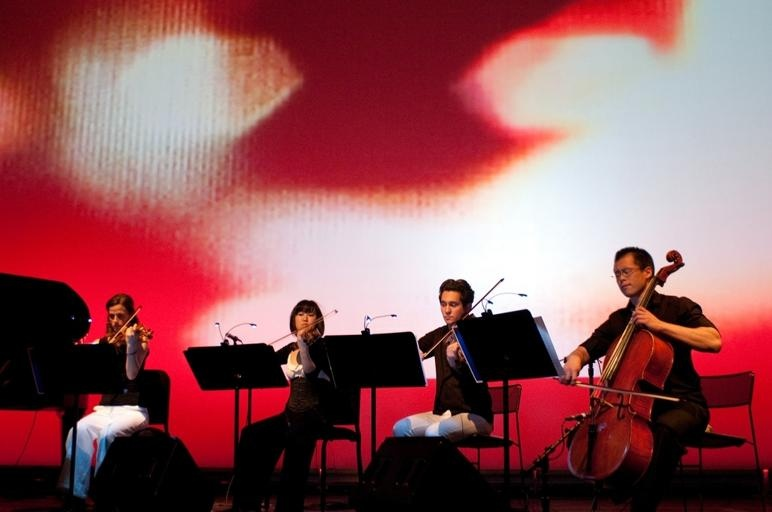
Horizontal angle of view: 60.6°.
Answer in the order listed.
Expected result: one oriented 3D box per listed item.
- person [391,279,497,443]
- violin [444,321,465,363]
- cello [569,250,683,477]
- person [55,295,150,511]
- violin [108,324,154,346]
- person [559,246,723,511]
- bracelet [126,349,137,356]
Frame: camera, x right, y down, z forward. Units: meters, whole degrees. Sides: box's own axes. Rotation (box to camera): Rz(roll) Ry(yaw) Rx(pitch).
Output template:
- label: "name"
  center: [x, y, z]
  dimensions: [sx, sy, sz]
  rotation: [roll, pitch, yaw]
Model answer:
- label: "person"
  center: [0.405, 0.828, 5.130]
  dimensions: [0.677, 1.238, 0.580]
  rotation: [-11, -24, 19]
- label: "violin"
  center: [0.509, 0.649, 4.901]
  dimensions: [0.090, 0.277, 0.196]
  rotation: [-11, 5, 13]
- label: "cello"
  center: [1.599, 0.739, 4.463]
  dimensions: [0.874, 1.473, 0.369]
  rotation: [-6, -22, 6]
- label: "person"
  center: [-2.290, 1.134, 5.442]
  dimensions: [0.791, 1.805, 0.640]
  rotation: [-8, -23, 13]
- label: "violin"
  center: [-2.137, 0.683, 5.548]
  dimensions: [0.366, 0.188, 0.103]
  rotation: [-23, -53, 19]
- label: "person"
  center: [1.981, 1.012, 5.031]
  dimensions: [0.851, 2.335, 1.140]
  rotation: [21, -35, -6]
- label: "bracelet"
  center: [-2.076, 0.793, 5.402]
  dimensions: [0.058, 0.022, 0.056]
  rotation: [-2, 5, -16]
